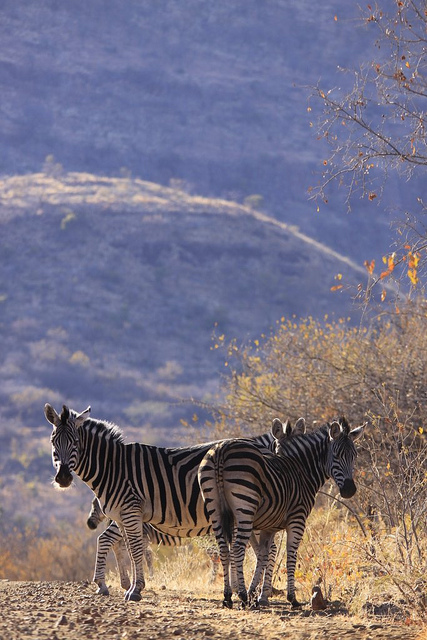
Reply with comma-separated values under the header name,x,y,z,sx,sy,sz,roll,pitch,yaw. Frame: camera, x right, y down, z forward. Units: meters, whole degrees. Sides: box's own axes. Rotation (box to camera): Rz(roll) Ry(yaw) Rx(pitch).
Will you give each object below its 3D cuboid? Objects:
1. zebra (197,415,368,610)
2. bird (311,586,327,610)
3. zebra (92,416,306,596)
name,x,y,z,sx,sy,sz,roll,pitch,yaw
zebra,0.807,2.100,14.417,1.604,2.258,0.559,9,-4,-27
bird,1.109,2.968,13.820,0.165,0.302,0.159,11,-5,7
zebra,-0.636,2.255,15.676,2.099,2.119,0.622,-6,-11,23
